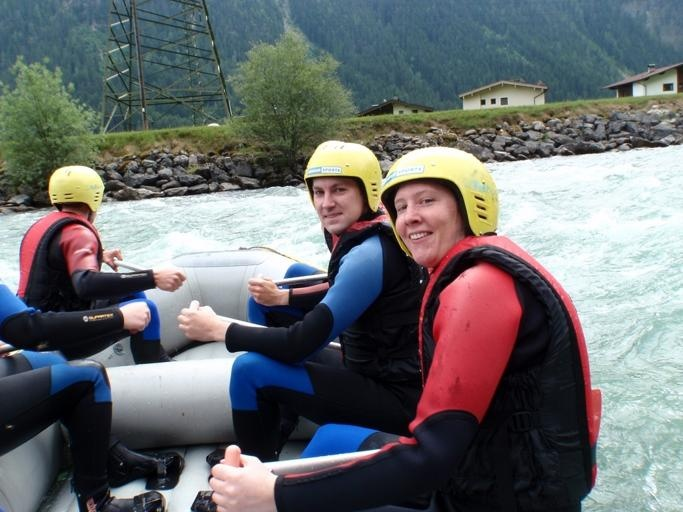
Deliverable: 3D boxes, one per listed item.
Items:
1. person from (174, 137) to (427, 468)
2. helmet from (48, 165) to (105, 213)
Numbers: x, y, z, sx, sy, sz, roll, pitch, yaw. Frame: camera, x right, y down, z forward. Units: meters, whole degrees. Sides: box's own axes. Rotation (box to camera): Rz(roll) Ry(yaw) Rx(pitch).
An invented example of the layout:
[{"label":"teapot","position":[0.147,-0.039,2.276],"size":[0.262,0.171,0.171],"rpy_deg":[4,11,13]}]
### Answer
[{"label":"person","position":[-0.204,0.314,2.938],"size":[1.316,1.764,1.020],"rpy_deg":[1,11,-24]},{"label":"helmet","position":[-1.752,-0.442,3.694],"size":[0.295,0.365,0.380],"rpy_deg":[5,11,6]}]
